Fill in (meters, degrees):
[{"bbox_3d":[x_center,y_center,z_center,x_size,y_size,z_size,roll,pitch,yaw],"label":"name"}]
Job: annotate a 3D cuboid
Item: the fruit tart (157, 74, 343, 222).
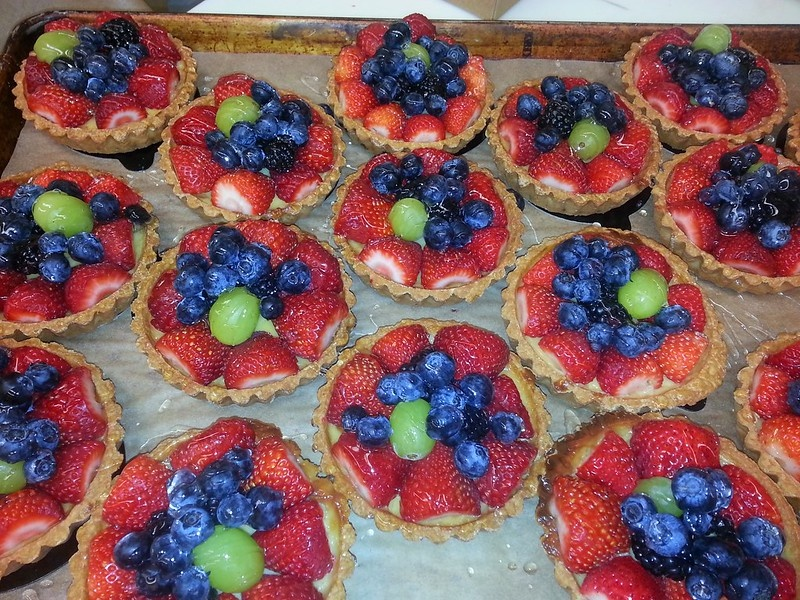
[{"bbox_3d":[-0.853,-0.845,4.481,1.044,0.512,0.838,10,82,1],"label":"fruit tart"}]
